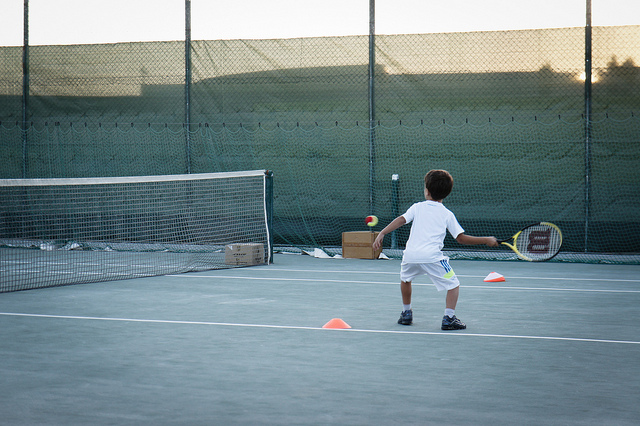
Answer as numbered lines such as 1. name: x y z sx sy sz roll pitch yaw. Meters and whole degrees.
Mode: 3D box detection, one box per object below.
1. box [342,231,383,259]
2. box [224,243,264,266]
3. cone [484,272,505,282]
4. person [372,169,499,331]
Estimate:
1. box: 1.059 0.805 14.949 0.929 0.655 0.585 -1 -1 33
2. box: -1.697 0.925 13.539 0.598 0.339 0.587 -1 -1 17
3. cone: 3.214 1.189 11.203 0.402 0.126 0.417 1 1 -7
4. person: 1.328 0.423 7.202 1.110 1.894 0.757 2 1 14
